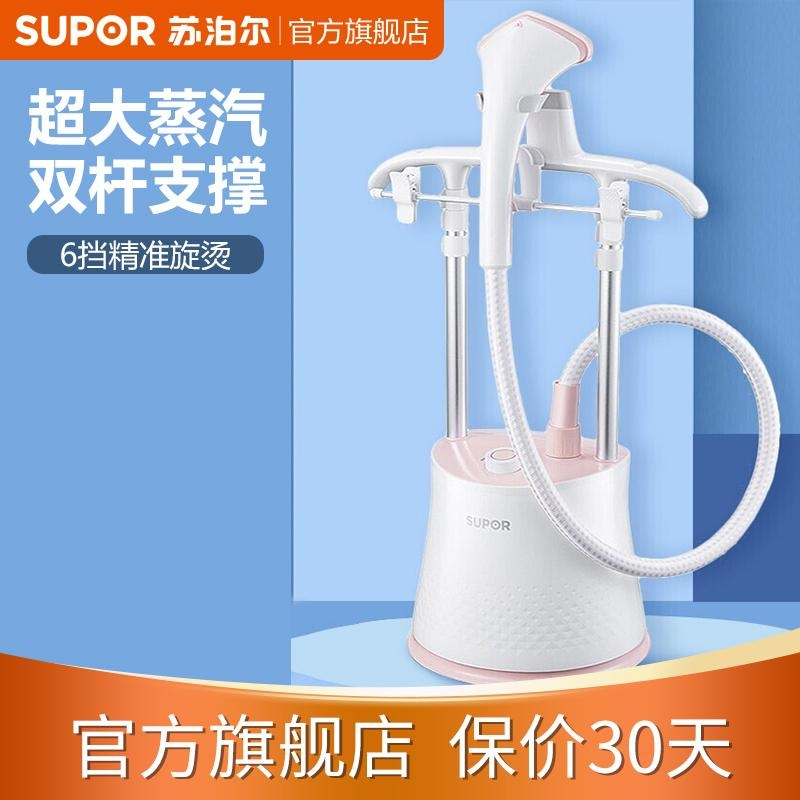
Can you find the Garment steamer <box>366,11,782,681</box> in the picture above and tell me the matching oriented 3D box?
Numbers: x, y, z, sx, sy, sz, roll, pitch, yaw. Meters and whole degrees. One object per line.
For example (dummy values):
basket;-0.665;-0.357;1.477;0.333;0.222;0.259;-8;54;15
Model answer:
Garment steamer;0.189;-0.028;1.122;0.429;0.634;0.249;1;6;-13
